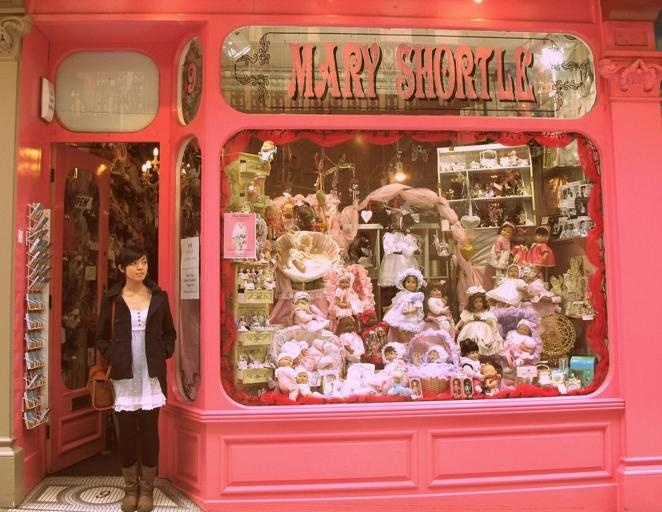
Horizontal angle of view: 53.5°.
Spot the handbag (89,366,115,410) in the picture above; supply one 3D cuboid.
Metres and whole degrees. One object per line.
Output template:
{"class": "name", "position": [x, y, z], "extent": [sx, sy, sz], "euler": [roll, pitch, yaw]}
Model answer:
{"class": "handbag", "position": [-1.859, 1.055, 5.396], "extent": [0.235, 0.469, 0.453], "euler": [3, -6, -20]}

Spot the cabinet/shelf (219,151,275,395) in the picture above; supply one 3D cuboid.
{"class": "cabinet/shelf", "position": [-0.822, -0.311, 6.034], "extent": [0.479, 0.533, 1.926], "euler": [-3, 31, -5]}

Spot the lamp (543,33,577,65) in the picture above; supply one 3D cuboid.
{"class": "lamp", "position": [2.041, -1.867, 6.013], "extent": [0.263, 0.281, 0.067], "euler": [5, 3, -3]}

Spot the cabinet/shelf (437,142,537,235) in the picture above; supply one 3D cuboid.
{"class": "cabinet/shelf", "position": [1.352, -0.618, 5.881], "extent": [0.720, 0.714, 0.222], "euler": [0, -3, -2]}
